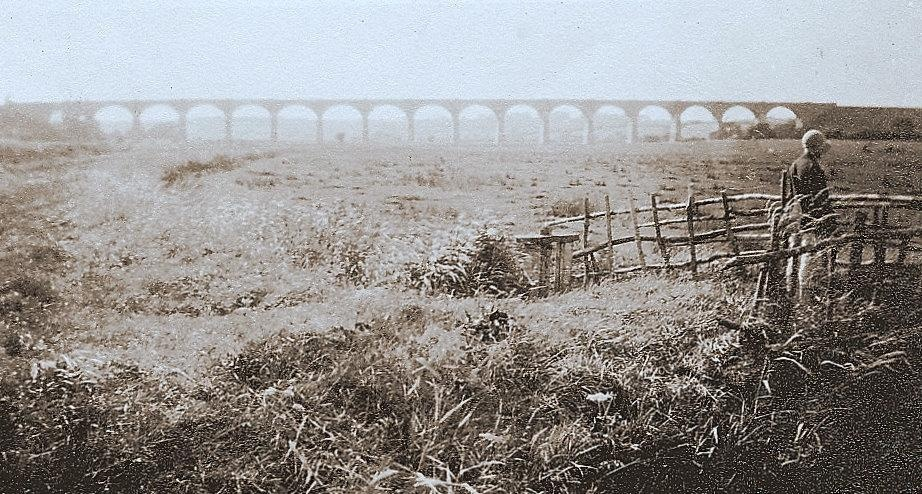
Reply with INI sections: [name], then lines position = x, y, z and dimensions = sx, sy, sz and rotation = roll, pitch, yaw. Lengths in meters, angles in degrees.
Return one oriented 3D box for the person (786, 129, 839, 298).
[person]
position = 4.724, -0.841, 9.285
dimensions = 0.661, 1.448, 0.449
rotation = 1, 10, 12
